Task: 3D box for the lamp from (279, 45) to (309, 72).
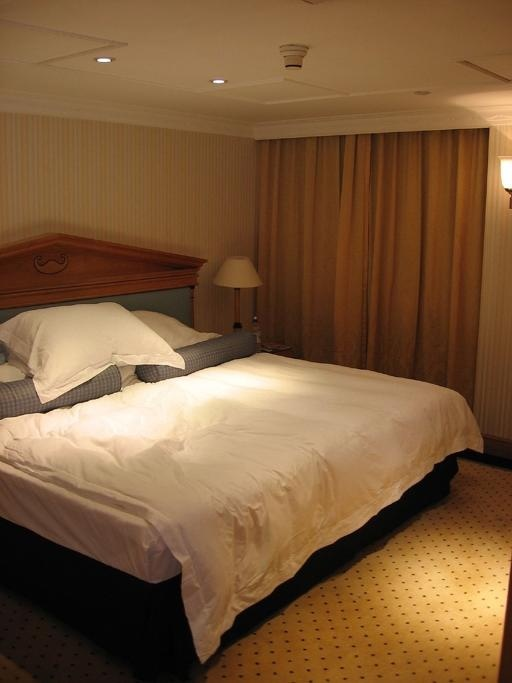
[{"bbox_3d":[0.148,-1.076,2.005,0.083,0.056,0.081,-3,16,-11],"label":"lamp"}]
